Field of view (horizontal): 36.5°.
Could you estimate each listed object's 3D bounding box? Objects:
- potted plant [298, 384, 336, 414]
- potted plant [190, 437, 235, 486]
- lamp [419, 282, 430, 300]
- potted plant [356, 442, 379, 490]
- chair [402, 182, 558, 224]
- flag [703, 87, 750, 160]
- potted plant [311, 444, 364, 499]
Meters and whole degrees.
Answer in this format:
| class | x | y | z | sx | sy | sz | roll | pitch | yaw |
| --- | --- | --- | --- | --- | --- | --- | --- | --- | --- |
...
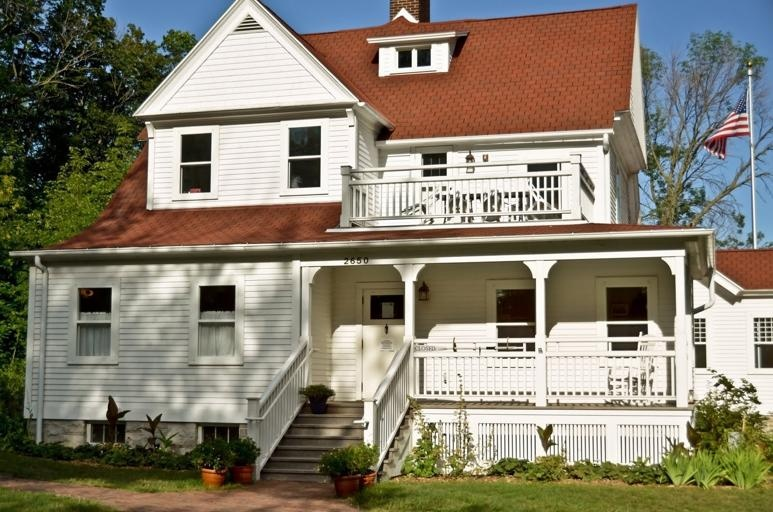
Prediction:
| class | x | y | z | sx | sy | sz | roll | pitch | yaw |
| --- | --- | --- | --- | --- | --- | --- | --- | --- | --- |
| potted plant | -2.115 | 4.380 | 35.910 | 0.851 | 0.839 | 0.840 | 0 | -12 | -3 |
| potted plant | -4.873 | 5.902 | 33.377 | 1.192 | 1.335 | 1.160 | 2 | -18 | -6 |
| lamp | 1.176 | 1.152 | 37.567 | 0.374 | 0.584 | 0.225 | 2 | -12 | -1 |
| potted plant | -0.557 | 5.911 | 32.898 | 0.879 | 1.233 | 1.132 | -2 | -5 | -1 |
| chair | 2.895 | -1.606 | 36.832 | 4.623 | 1.465 | 1.734 | 1 | -12 | 6 |
| flag | 14.549 | -5.698 | 50.221 | 1.641 | 3.324 | 3.345 | -2 | -13 | 19 |
| potted plant | -1.259 | 5.957 | 32.323 | 1.151 | 1.368 | 0.539 | 2 | -12 | 0 |
